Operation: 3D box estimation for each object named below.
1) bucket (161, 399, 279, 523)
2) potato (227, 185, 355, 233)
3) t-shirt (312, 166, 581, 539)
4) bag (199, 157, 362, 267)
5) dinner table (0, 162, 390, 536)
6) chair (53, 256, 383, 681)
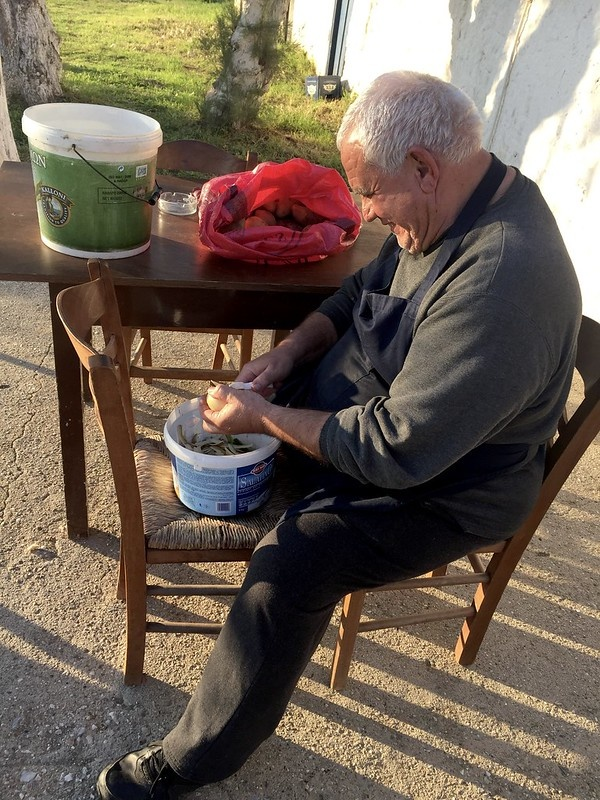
[{"bbox_3d":[-0.222,0.172,1.866,0.289,0.173,0.280,4,20,-1],"label":"bucket"},{"bbox_3d":[-0.065,-0.607,2.386,0.265,0.097,0.197,4,51,-24],"label":"potato"},{"bbox_3d":[0.342,-0.124,1.882,0.695,0.784,1.049,2,27,-2],"label":"t-shirt"},{"bbox_3d":[-0.078,-0.587,2.367,0.491,0.167,0.396,-5,47,-14],"label":"bag"},{"bbox_3d":[-0.444,-0.317,2.731,1.479,1.010,1.135,-1,34,-7],"label":"dinner table"},{"bbox_3d":[-0.221,0.234,2.039,0.860,1.097,0.754,7,30,-2],"label":"chair"}]
